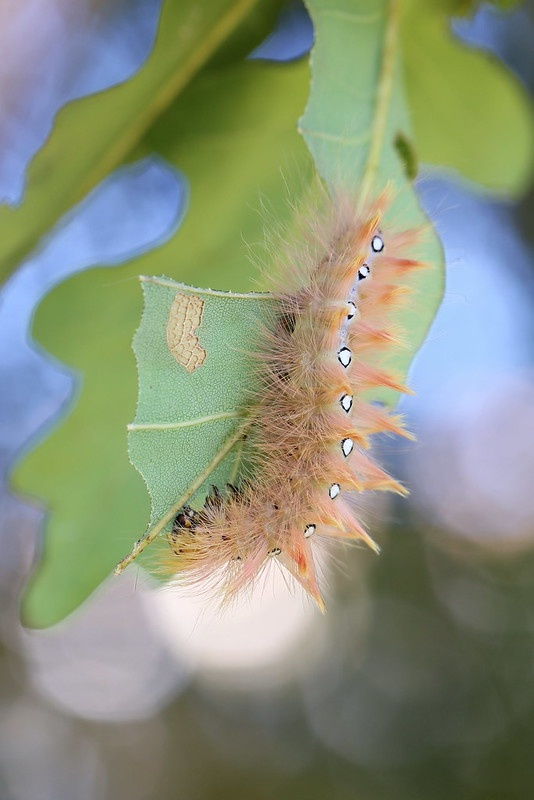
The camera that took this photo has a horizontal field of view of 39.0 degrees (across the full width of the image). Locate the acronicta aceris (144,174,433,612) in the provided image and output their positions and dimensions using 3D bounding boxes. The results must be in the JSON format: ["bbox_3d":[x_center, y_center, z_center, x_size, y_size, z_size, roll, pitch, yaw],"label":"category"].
[{"bbox_3d":[0.031,-0.018,0.514,0.110,0.149,0.283,24,76,9],"label":"acronicta aceris"}]
